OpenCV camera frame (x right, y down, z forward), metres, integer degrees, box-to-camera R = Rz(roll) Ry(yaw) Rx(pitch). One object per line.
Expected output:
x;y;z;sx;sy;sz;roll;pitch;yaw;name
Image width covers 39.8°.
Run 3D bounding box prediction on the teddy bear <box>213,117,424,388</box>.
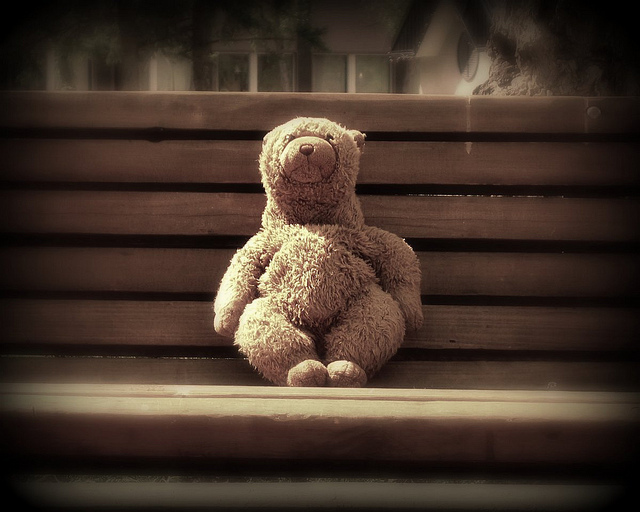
0.016;-0.057;2.924;0.847;0.757;0.743;1;7;4;teddy bear
